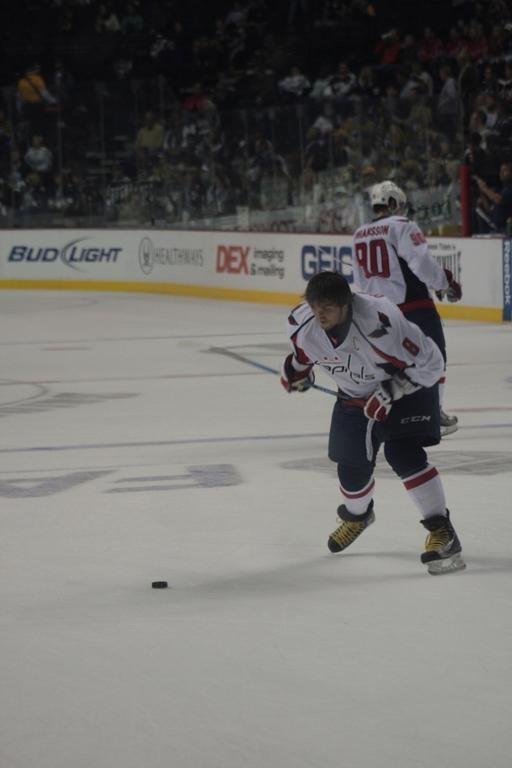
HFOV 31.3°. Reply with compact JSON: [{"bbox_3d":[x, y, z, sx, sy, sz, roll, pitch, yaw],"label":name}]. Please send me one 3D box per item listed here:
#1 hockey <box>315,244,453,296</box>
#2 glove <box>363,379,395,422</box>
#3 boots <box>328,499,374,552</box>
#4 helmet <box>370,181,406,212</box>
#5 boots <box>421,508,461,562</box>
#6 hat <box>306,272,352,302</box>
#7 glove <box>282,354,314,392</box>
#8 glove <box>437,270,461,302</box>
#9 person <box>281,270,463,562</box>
[{"bbox_3d":[0.909,-0.765,6.130,0.276,0.343,1.850,-6,11,-24],"label":"hockey"},{"bbox_3d":[0.455,0.060,3.291,0.051,0.128,0.100,28,-9,46],"label":"glove"},{"bbox_3d":[0.387,0.580,3.725,0.076,0.194,0.133,42,-3,34],"label":"boots"},{"bbox_3d":[0.789,-1.128,5.540,0.185,0.176,0.242,0,6,11],"label":"helmet"},{"bbox_3d":[0.650,0.554,3.333,0.187,0.163,0.106,-11,11,-31],"label":"boots"},{"bbox_3d":[0.235,-0.315,3.049,0.103,0.109,0.138,7,18,28],"label":"hat"},{"bbox_3d":[0.160,-0.042,3.525,0.135,0.081,0.158,16,-16,3],"label":"glove"},{"bbox_3d":[1.143,-0.580,5.480,0.173,0.200,0.060,-22,47,-10],"label":"glove"},{"bbox_3d":[0.439,0.148,3.430,0.700,1.112,0.668,-3,7,-15],"label":"person"}]
